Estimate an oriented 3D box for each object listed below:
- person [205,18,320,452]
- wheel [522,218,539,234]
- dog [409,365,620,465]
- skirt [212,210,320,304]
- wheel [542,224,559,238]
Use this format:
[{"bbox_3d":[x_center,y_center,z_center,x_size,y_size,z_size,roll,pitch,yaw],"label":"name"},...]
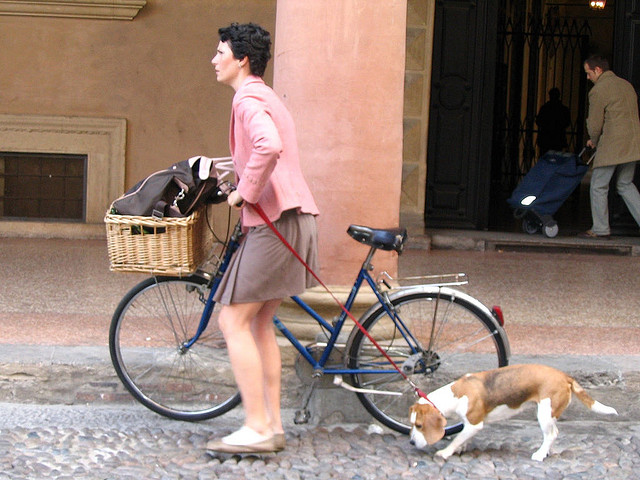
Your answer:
[{"bbox_3d":[-0.363,-0.010,5.132,0.598,2.516,0.424,0,6,14],"label":"person"},{"bbox_3d":[2.652,-0.189,11.049,0.181,0.180,0.069,6,2,-40],"label":"wheel"},{"bbox_3d":[1.104,1.032,5.333,1.168,0.576,0.350,-1,5,-5],"label":"dog"},{"bbox_3d":[-0.298,-0.003,5.322,0.501,0.667,0.760,0,13,23],"label":"skirt"},{"bbox_3d":[2.808,-0.127,10.718,0.158,0.159,0.155,-2,8,0],"label":"wheel"}]
